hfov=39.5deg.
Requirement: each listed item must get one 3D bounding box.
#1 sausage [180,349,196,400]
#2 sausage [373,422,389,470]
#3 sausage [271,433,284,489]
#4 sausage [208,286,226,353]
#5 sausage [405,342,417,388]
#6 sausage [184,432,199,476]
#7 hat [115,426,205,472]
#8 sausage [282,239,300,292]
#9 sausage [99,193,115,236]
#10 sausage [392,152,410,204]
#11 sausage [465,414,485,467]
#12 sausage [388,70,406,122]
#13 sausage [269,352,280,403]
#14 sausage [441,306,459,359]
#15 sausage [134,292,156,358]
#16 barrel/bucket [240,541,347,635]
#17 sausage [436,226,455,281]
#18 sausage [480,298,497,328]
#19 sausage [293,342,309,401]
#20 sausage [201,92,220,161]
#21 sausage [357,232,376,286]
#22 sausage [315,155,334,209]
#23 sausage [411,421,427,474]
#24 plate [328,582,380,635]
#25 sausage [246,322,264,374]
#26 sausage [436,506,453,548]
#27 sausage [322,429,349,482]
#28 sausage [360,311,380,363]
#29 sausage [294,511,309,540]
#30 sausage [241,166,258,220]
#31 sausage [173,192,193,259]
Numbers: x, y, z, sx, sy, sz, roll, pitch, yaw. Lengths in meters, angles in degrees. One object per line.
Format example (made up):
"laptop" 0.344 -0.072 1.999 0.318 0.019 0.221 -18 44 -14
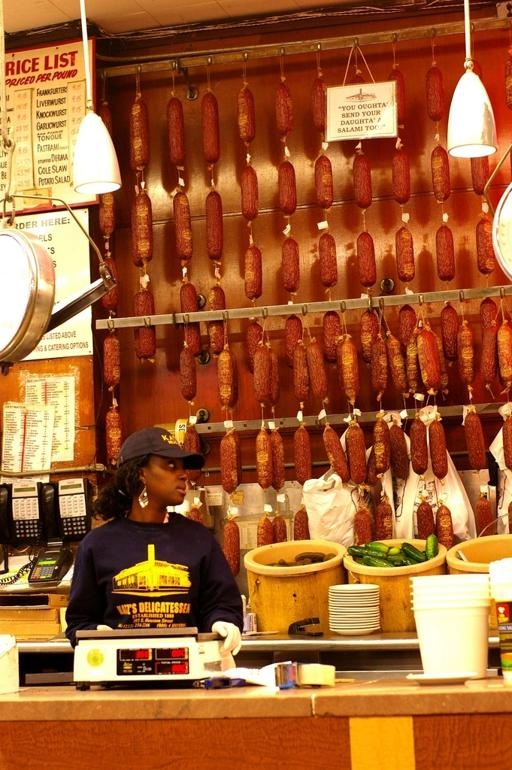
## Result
"sausage" -0.413 -0.062 4.248 0.081 0.318 0.181 -2 -5 -8
"sausage" 0.658 0.332 3.817 0.077 0.255 0.069 5 -11 -23
"sausage" 0.115 0.433 4.027 0.077 0.308 0.080 -3 -4 3
"sausage" -0.243 -0.384 4.300 0.098 0.406 0.113 -1 2 -8
"sausage" 0.856 -0.103 3.931 0.065 0.267 0.132 -4 -5 13
"sausage" -0.377 0.386 4.133 0.081 0.270 0.081 25 -32 -36
"hat" -0.331 0.228 2.373 0.230 0.126 0.150 -10 -8 13
"sausage" 0.207 -0.686 4.161 0.098 0.324 0.098 -1 -4 -28
"sausage" -0.930 -1.046 4.401 0.081 0.250 0.154 -2 -5 -8
"sausage" 0.821 -1.193 4.065 0.088 0.335 0.138 -3 -5 10
"sausage" 1.145 0.307 3.774 0.094 0.311 0.095 -1 -8 -41
"sausage" 0.845 -1.700 4.241 0.096 0.387 0.091 -9 18 4
"sausage" 0.110 -0.038 4.043 0.062 0.259 0.072 -1 -5 6
"sausage" 1.072 -0.294 3.944 0.089 0.324 0.131 -4 -5 22
"sausage" -0.689 -0.363 4.373 0.111 0.423 0.123 0 -3 -1
"barrel/bucket" 0.172 0.927 3.432 0.393 0.313 0.387 -2 -1 0
"sausage" 1.062 -0.734 4.043 0.114 0.121 0.386 -4 -40 16
"sausage" 1.250 -0.383 3.844 0.075 0.180 0.148 -4 -5 17
"sausage" 0.248 -0.076 4.017 0.083 0.342 0.136 -3 -5 3
"sausage" -0.278 -1.548 4.375 0.115 0.457 0.119 -5 -6 -3
"sausage" 0.616 -0.728 4.088 0.100 0.336 0.098 -9 -5 37
"sausage" 0.411 -1.209 4.185 0.101 0.354 0.109 4 -17 -14
"sausage" 0.865 0.334 3.818 0.083 0.292 0.081 -4 -4 21
"plate" 0.431 0.967 3.134 0.209 0.185 0.217 0 -12 -4
"sausage" -0.014 -0.227 4.189 0.086 0.321 0.091 0 -7 4
"sausage" 0.976 0.737 3.695 0.085 0.202 0.065 -7 -6 24
"sausage" 0.410 0.375 3.887 0.090 0.331 0.098 -23 -18 20
"sausage" 0.634 -0.262 4.057 0.089 0.291 0.093 2 -5 -42
"sausage" 0.246 0.767 3.918 0.069 0.161 0.071 -2 -2 26
"sausage" -0.047 -1.137 4.217 0.078 0.307 0.062 -5 -6 26
"sausage" -0.456 -0.964 4.406 0.109 0.424 0.109 -3 1 39
